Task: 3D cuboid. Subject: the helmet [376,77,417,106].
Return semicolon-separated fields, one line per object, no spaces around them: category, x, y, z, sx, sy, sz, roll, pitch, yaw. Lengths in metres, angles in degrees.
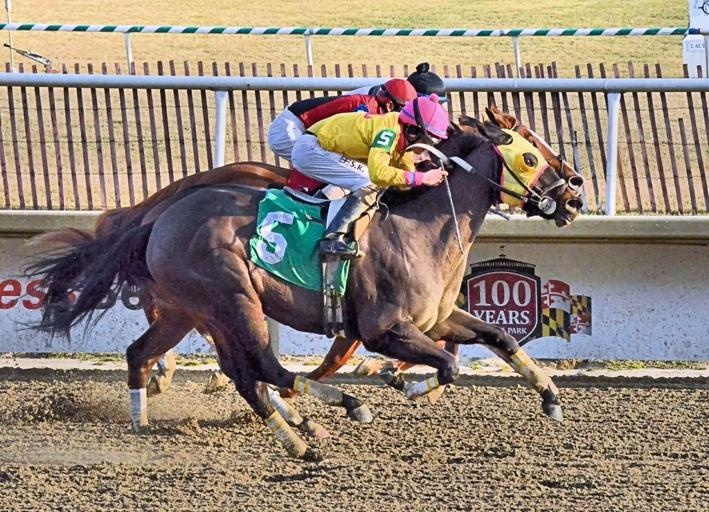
helmet;0.358;-1.444;15.668;0.239;0.245;0.297;18;23;-36

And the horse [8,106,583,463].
horse;-0.374;0.253;15.463;4.495;2.957;1.022;1;13;1

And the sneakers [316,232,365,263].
sneakers;-0.132;-0.078;15.201;0.316;0.117;0.213;2;55;4
